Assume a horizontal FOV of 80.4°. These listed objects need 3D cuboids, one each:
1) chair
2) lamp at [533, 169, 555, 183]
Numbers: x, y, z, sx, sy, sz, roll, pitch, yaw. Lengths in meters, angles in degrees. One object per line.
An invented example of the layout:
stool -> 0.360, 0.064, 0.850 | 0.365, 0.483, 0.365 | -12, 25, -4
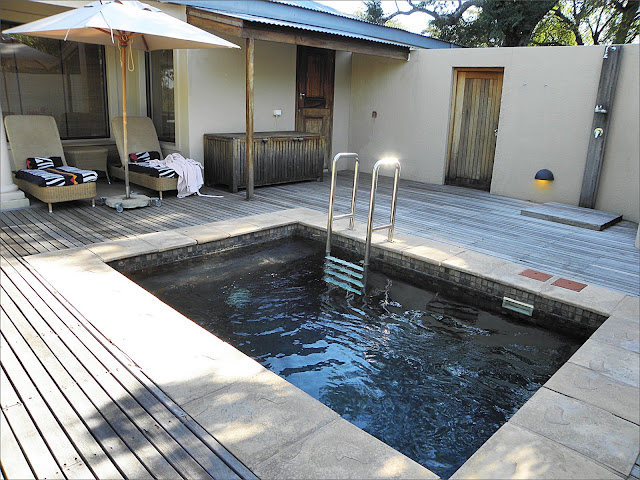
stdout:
chair -> -4.818, -1.425, 7.334 | 3.000, 1.710, 1.906 | 16, 23, 32
lamp -> 4.682, -1.334, 7.910 | 0.303, 0.166, 0.288 | -3, 15, -36
